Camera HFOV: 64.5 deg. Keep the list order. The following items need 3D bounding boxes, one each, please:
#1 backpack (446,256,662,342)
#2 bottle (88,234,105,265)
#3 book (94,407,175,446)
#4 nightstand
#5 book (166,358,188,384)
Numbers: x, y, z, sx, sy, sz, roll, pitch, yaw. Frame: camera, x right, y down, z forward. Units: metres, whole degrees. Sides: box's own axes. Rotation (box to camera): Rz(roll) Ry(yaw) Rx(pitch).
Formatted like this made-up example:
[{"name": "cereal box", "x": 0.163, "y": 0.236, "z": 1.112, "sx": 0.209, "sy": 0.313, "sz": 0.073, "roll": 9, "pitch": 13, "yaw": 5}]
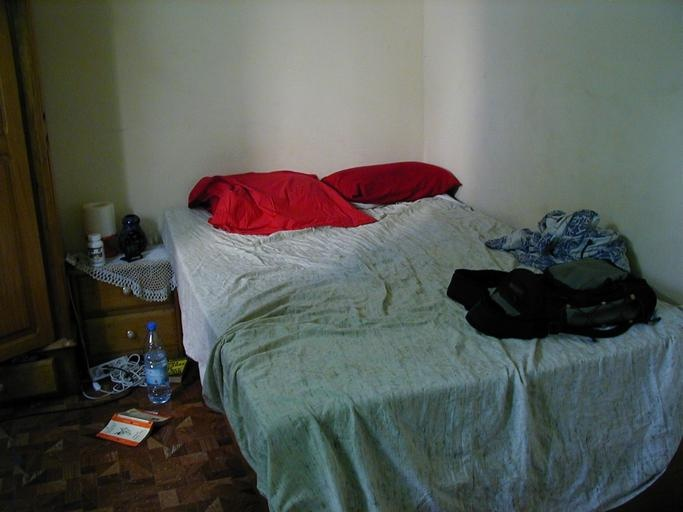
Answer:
[{"name": "backpack", "x": 0.775, "y": 0.154, "z": 2.000, "sx": 0.494, "sy": 0.189, "sz": 0.361, "roll": -4, "pitch": 12, "yaw": -7}, {"name": "bottle", "x": -1.285, "y": -0.032, "z": 2.827, "sx": 0.073, "sy": 0.157, "sz": 0.086, "roll": -11, "pitch": 15, "yaw": -24}, {"name": "book", "x": -0.945, "y": 0.764, "z": 2.409, "sx": 0.142, "sy": 0.046, "sz": 0.164, "roll": 8, "pitch": 23, "yaw": 18}, {"name": "nightstand", "x": -1.204, "y": 0.239, "z": 3.060, "sx": 0.590, "sy": 0.723, "sz": 0.500, "roll": -11, "pitch": 38, "yaw": -27}, {"name": "book", "x": -0.840, "y": 0.583, "z": 2.755, "sx": 0.085, "sy": 0.026, "sz": 0.124, "roll": -2, "pitch": 23, "yaw": -6}]
